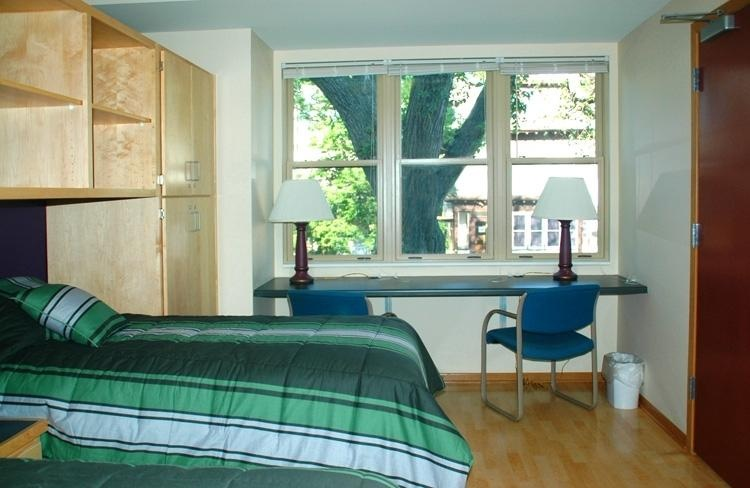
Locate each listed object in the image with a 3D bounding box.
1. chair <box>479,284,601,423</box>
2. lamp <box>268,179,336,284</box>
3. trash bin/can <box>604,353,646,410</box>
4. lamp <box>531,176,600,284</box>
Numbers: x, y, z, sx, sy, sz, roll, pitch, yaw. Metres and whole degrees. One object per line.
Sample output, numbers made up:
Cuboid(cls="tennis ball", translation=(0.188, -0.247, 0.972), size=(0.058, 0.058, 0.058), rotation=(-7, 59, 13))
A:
Cuboid(cls="chair", translation=(1.291, 0.817, 4.648), size=(0.916, 1.082, 0.667), rotation=(1, 6, 10))
Cuboid(cls="lamp", translation=(-0.624, -0.090, 4.881), size=(0.403, 0.871, 0.405), rotation=(5, 8, 41))
Cuboid(cls="trash bin/can", translation=(1.946, 1.092, 4.816), size=(0.363, 0.436, 0.404), rotation=(1, 0, 17))
Cuboid(cls="lamp", translation=(1.545, -0.120, 4.943), size=(0.489, 0.860, 0.359), rotation=(2, 6, 13))
